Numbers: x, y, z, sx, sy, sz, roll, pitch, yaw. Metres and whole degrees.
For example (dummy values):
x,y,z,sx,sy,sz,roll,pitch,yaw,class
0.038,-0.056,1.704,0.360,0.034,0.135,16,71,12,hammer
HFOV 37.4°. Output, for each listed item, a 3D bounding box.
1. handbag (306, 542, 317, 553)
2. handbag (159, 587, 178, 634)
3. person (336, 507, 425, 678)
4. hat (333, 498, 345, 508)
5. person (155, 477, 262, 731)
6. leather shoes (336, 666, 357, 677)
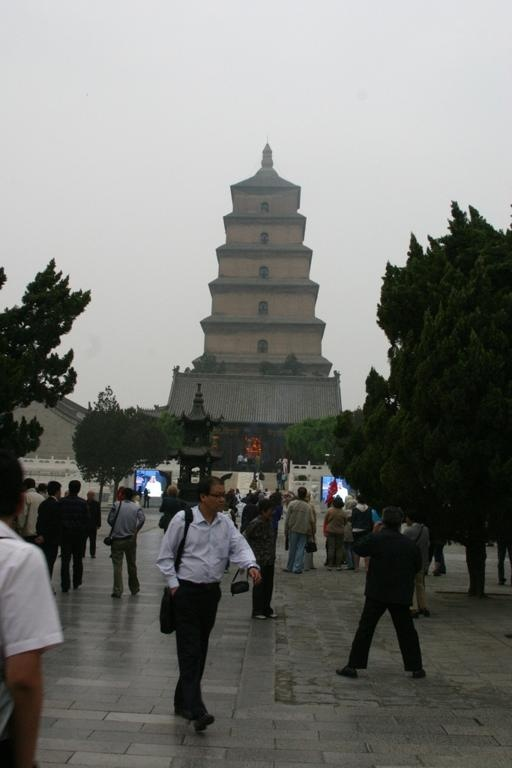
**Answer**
x,y,z,sx,sy,sz,roll,pitch,yaw,class
0.963,2.862,13.278,0.174,0.192,0.449,0,-7,9,handbag
-0.518,1.363,4.495,0.089,0.297,0.294,2,-7,-6,handbag
0.966,1.595,5.822,0.668,1.280,0.379,3,-7,-1,person
1.549,2.203,14.098,0.173,0.208,0.203,-6,-45,-2,hat
-0.240,1.201,4.327,0.540,1.300,0.602,5,-7,-25,person
0.673,2.161,5.648,0.139,0.060,0.069,3,0,35,leather shoes
